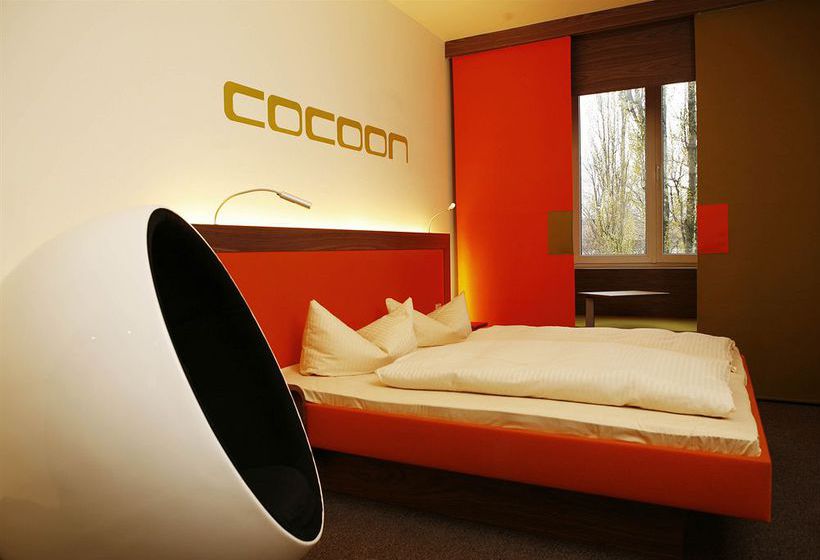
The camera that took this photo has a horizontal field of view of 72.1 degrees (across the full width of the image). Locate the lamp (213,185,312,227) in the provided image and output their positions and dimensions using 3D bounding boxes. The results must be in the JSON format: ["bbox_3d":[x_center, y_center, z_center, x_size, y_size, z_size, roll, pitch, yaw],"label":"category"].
[{"bbox_3d":[-0.836,-0.429,3.119,0.501,0.180,0.522,-4,12,-16],"label":"lamp"}]
